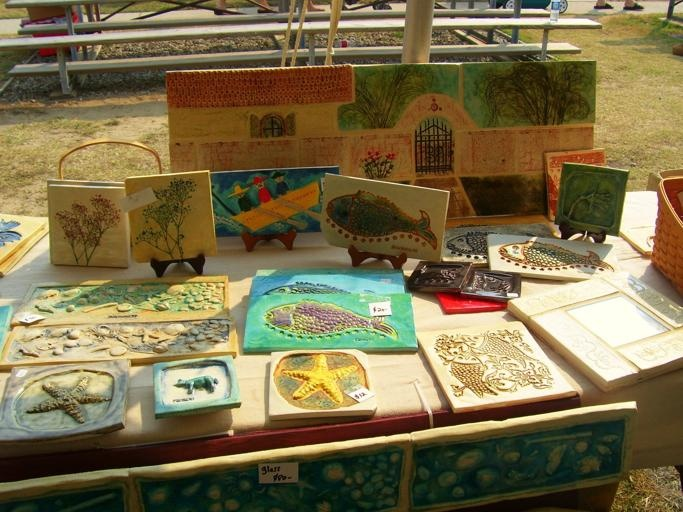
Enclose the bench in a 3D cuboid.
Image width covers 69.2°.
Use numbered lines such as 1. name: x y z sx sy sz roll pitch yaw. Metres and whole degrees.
1. bench: -0.715 -2.334 5.592 6.280 0.557 0.693 -2 26 -3
